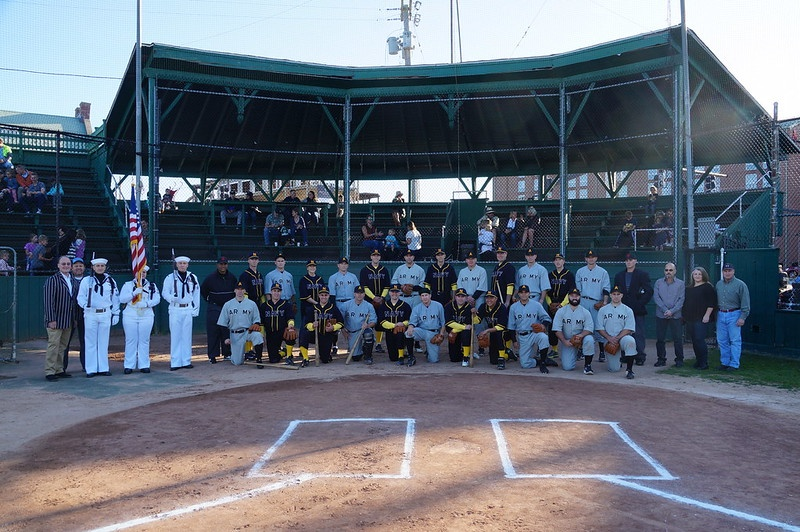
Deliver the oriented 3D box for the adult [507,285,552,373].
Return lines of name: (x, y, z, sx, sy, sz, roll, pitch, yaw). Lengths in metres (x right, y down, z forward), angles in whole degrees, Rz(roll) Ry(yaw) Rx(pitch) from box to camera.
adult: (3.403, 1.596, 21.008, 1.099, 2.177, 0.868, -2, -2, 15)

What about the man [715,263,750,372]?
man: (8.393, 1.269, 20.107, 0.760, 2.686, 0.476, -3, -2, 36)

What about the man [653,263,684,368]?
man: (7.147, 1.262, 21.073, 0.804, 2.729, 0.943, -2, -2, 18)

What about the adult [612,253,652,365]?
adult: (6.181, 1.185, 21.244, 1.080, 3.139, 1.007, -3, -5, 38)

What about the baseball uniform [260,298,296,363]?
baseball uniform: (-3.224, 1.745, 21.571, 1.083, 1.720, 0.603, -2, -2, 34)

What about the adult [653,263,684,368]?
adult: (7.147, 1.262, 21.073, 0.804, 2.729, 0.943, -2, -2, 18)

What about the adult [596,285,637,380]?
adult: (5.625, 1.636, 20.173, 0.726, 2.214, 1.152, 0, -2, -22)

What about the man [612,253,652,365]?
man: (6.149, 1.161, 21.304, 0.974, 3.029, 1.048, -2, 1, -44)

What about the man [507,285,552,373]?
man: (3.381, 1.597, 21.012, 1.090, 2.177, 0.775, -2, -2, 21)

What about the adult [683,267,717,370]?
adult: (7.774, 1.311, 20.572, 0.611, 2.621, 0.829, 0, -2, -36)

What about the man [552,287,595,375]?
man: (4.577, 1.672, 20.682, 1.082, 2.170, 0.983, -3, -2, 36)

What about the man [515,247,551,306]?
man: (3.758, 0.721, 22.728, 1.046, 2.324, 0.551, 1, -1, 21)

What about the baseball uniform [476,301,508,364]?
baseball uniform: (2.441, 1.696, 21.271, 0.918, 1.974, 1.022, -2, -2, 25)

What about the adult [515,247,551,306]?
adult: (3.782, 0.719, 22.784, 1.080, 2.375, 0.551, 2, 6, 28)

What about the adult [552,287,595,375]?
adult: (4.597, 1.672, 20.683, 1.080, 2.170, 0.937, -3, -2, 40)

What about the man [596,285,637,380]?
man: (5.626, 1.636, 20.174, 0.736, 2.214, 1.146, 0, -2, -22)

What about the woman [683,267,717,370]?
woman: (7.801, 1.311, 20.584, 0.615, 2.621, 0.859, 0, -2, -24)

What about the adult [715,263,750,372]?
adult: (8.393, 1.269, 20.107, 0.760, 2.686, 0.476, -3, -2, 36)
